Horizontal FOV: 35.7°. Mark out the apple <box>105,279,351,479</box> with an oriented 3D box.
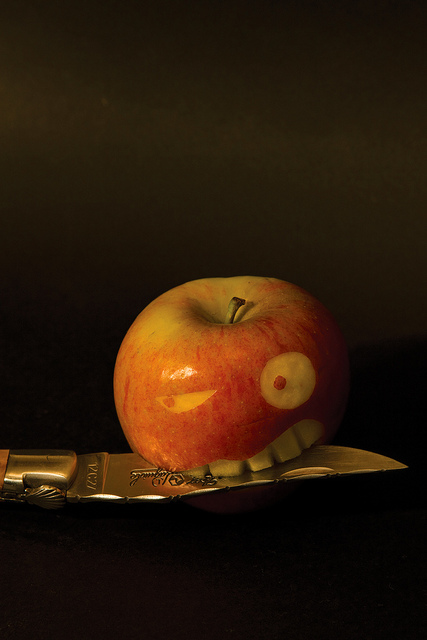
[{"bbox_3d":[0.043,0.077,0.915,0.304,0.203,0.275,-1,32,26],"label":"apple"}]
